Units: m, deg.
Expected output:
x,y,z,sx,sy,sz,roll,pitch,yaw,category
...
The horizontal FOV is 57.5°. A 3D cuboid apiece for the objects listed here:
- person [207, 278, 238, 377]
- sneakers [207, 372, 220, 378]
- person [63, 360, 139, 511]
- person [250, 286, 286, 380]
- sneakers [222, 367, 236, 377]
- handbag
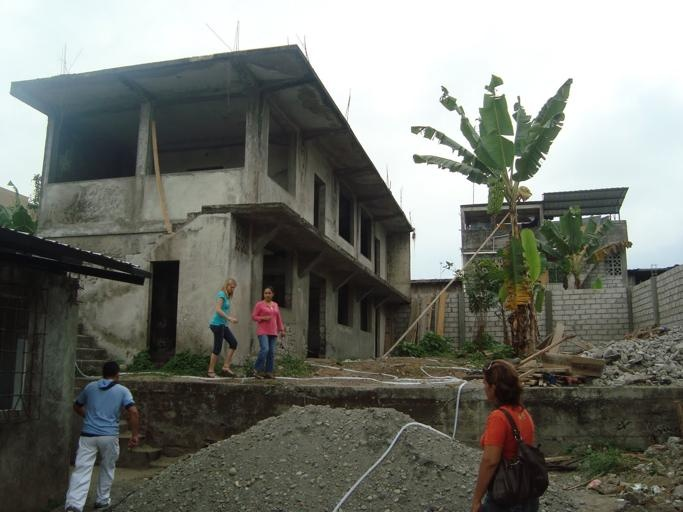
x,y,z,sx,sy,sz,roll,pitch,yaw,category
-2.223,1.338,11.647,0.509,1.819,1.510,3,-11,-11,person
-2.287,2.126,11.208,0.266,0.106,0.096,11,-11,-44,sneakers
-3.132,2.351,8.175,0.783,1.910,0.531,5,-11,-25,person
-1.395,1.445,11.908,0.542,1.708,1.483,1,-11,-5,person
-2.066,2.112,11.380,0.109,0.154,0.345,10,-7,13,sneakers
1.609,2.022,5.770,0.467,0.534,0.257,-9,-7,-2,handbag
